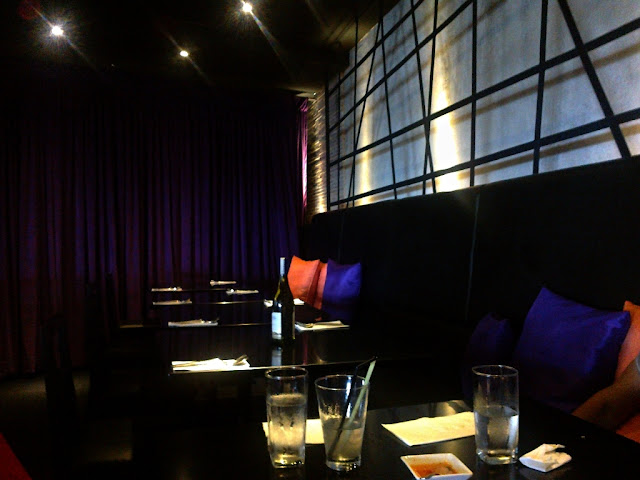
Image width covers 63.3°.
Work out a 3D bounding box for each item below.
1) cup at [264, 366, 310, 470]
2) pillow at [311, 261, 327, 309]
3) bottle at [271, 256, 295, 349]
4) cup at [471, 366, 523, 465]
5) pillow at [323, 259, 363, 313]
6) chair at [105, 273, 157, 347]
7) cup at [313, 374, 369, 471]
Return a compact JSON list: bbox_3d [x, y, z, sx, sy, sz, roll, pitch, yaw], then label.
[{"bbox_3d":[-0.098,0.527,1.548,0.123,0.251,0.134,0,12,0],"label":"cup"},{"bbox_3d":[-0.015,0.342,4.220,0.077,0.232,0.209,10,-2,-13],"label":"pillow"},{"bbox_3d":[-0.168,0.253,2.338,0.095,0.375,0.176,-1,12,-3],"label":"bottle"},{"bbox_3d":[0.518,0.522,1.533,0.132,0.239,0.119,3,12,15],"label":"cup"},{"bbox_3d":[0.172,0.342,3.753,0.140,0.273,0.274,35,-21,-29],"label":"pillow"},{"bbox_3d":[-1.608,0.585,4.349,0.472,0.721,0.424,-4,0,-21],"label":"chair"},{"bbox_3d":[0.076,0.528,1.545,0.165,0.254,0.153,0,12,0],"label":"cup"}]
